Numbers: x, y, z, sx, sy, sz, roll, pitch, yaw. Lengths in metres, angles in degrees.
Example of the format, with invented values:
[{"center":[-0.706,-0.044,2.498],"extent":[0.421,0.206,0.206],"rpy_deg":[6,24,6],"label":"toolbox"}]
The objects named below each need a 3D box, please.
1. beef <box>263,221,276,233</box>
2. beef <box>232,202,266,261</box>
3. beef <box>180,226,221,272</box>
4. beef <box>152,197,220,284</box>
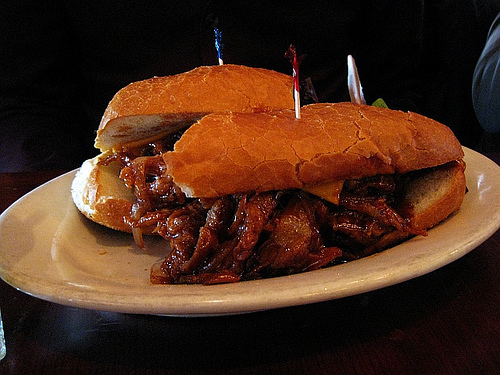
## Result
[{"center":[0.064,0.134,1.691],"extent":[0.036,0.014,0.040],"rpy_deg":[1,9,-4],"label":"beef"},{"center":[-0.007,0.154,1.718],"extent":[0.117,0.176,0.062],"rpy_deg":[22,-2,-7],"label":"beef"},{"center":[-0.163,0.209,1.677],"extent":[0.062,0.131,0.153],"rpy_deg":[26,44,35],"label":"beef"},{"center":[-0.234,0.170,1.849],"extent":[0.302,0.262,0.235],"rpy_deg":[-7,14,-35],"label":"beef"}]
